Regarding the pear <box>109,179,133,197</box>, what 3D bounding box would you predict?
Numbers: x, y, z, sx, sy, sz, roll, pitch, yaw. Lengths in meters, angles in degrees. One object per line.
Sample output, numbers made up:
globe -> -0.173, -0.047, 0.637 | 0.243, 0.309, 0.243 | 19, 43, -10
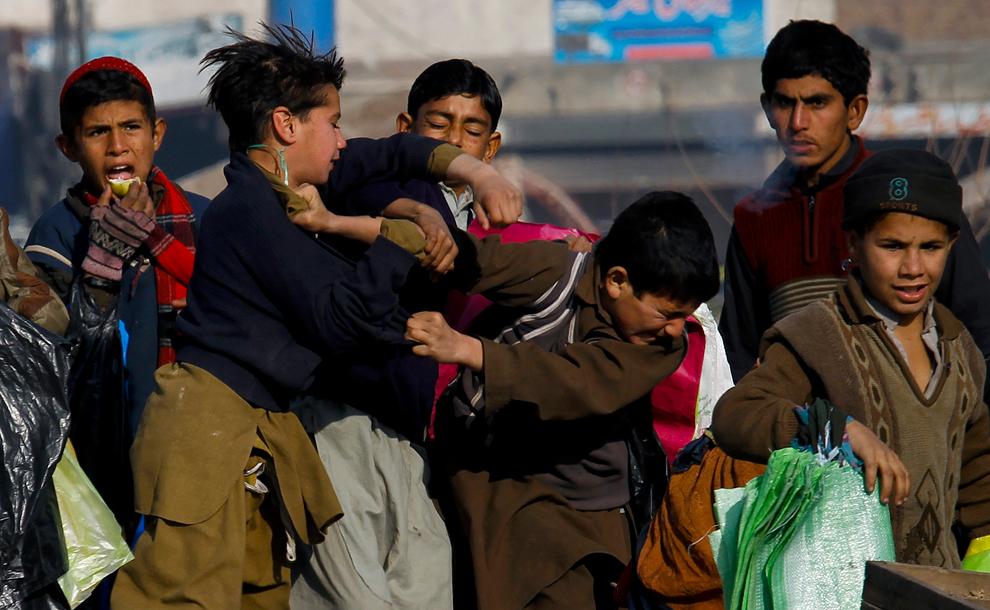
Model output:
pear -> -2.063, -0.656, 10.044 | 0.129, 0.102, 0.143 | 1, -7, -6

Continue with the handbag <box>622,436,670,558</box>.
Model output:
handbag -> 0.805, 0.987, 9.596 | 0.191, 0.519, 0.377 | 6, -9, -26
